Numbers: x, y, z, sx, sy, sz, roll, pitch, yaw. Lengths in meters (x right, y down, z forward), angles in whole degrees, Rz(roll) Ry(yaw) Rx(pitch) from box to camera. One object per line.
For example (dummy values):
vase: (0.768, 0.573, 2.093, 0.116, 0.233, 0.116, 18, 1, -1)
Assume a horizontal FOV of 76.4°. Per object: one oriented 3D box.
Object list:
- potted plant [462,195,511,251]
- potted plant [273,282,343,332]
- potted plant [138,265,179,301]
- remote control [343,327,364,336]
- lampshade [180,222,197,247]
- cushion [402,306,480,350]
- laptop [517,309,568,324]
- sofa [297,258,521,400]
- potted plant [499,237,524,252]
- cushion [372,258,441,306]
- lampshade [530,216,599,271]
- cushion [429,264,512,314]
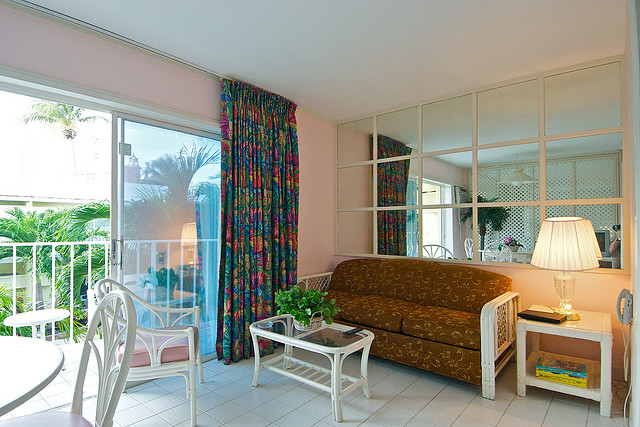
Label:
potted plant: (2.038, 0.138, 5.128, 0.514, 0.585, 0.545, -5, -4, 44)
potted plant: (-0.109, 0.946, 4.394, 0.540, 0.356, 0.579, 3, -5, 23)
potted plant: (-1.775, 0.783, 4.628, 0.381, 0.336, 0.371, 0, -6, 9)
remote control: (0.352, 1.234, 4.280, 0.237, 0.036, 0.100, -9, 16, -32)
lampshade: (-1.544, 0.245, 4.816, 0.231, 0.238, 0.243, 7, 8, 42)
cushion: (1.375, 1.238, 4.541, 0.840, 0.246, 0.385, 7, 16, 27)
laptop: (2.326, 1.064, 4.258, 0.413, 0.085, 0.254, 13, 19, 43)
sofa: (1.173, 1.181, 5.003, 2.259, 0.993, 1.212, 9, 17, 32)
potted plant: (2.304, 0.373, 4.860, 0.184, 0.116, 0.158, 1, -5, -3)
cushion: (1.111, 0.851, 5.284, 0.756, 0.543, 0.186, 8, -15, 45)
lampshade: (2.594, 0.352, 4.345, 0.663, 0.597, 0.639, -7, 6, -21)
cushion: (1.820, 0.901, 5.096, 0.957, 0.243, 1.110, -3, 21, 42)
